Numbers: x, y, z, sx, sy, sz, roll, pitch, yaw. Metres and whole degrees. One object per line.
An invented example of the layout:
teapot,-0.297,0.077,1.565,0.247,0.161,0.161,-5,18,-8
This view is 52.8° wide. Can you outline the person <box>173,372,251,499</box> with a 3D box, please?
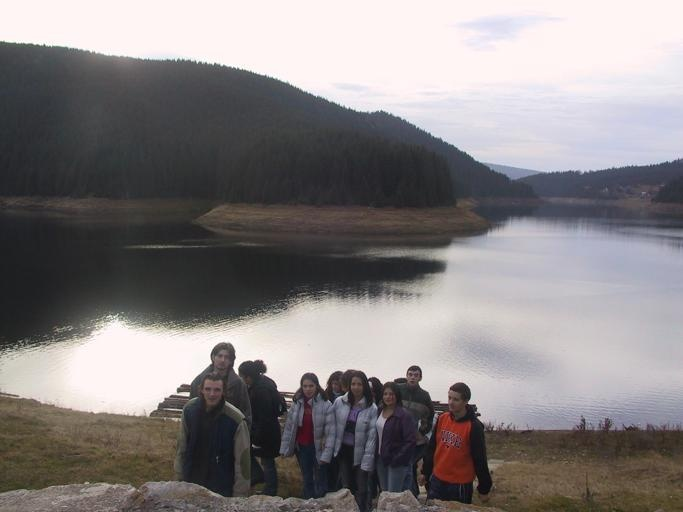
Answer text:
person,-2.222,3.154,12.151,1.300,1.770,0.553,6,-3,-16
